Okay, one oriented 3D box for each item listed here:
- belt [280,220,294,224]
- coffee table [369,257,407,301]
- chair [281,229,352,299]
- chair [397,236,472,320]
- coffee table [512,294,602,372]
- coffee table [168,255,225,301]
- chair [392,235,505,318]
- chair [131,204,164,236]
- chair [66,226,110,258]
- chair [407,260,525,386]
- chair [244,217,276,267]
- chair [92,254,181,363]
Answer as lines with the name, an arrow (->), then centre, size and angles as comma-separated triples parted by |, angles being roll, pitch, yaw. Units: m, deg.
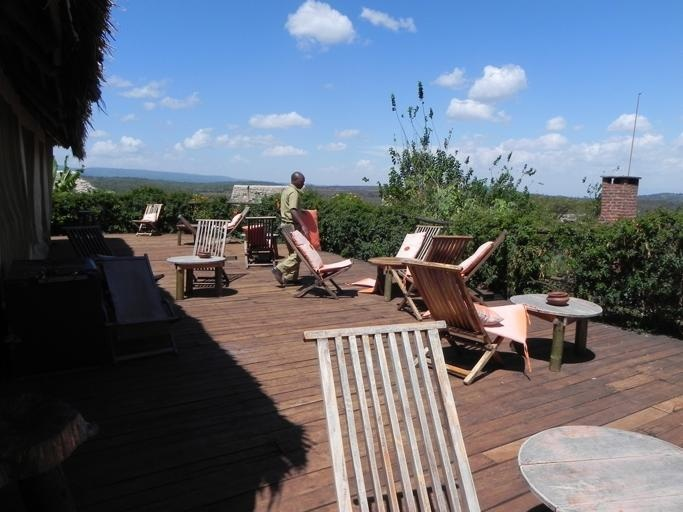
belt -> -1.086, -0.679, 8.366 | 0.164, 0.116, 0.144 | 0, 2, 6
coffee table -> 0.801, 0.418, 7.593 | 0.745, 0.639, 0.715 | 5, 10, -1
chair -> -0.436, 0.132, 7.749 | 1.330, 1.110, 0.858 | 5, 8, 2
chair -> 1.470, 0.088, 7.174 | 0.711, 0.843, 0.977 | 6, 0, -21
coffee table -> 2.438, 0.872, 4.908 | 0.980, 0.553, 0.905 | -1, 5, -33
coffee table -> -2.472, 0.405, 7.304 | 1.028, 0.576, 0.949 | -6, -4, -3
chair -> 1.655, 0.223, 6.944 | 1.187, 1.568, 1.816 | -5, 11, -30
chair -> -7.470, -1.435, 16.348 | 0.905, 1.241, 1.596 | -1, 6, -25
chair -> -4.264, -0.260, 7.119 | 0.624, 0.467, 1.483 | -2, 6, -30
chair -> 1.361, 0.629, 4.638 | 1.231, 0.996, 1.174 | 2, 5, -33
chair -> -1.957, -0.516, 11.192 | 0.695, 1.015, 1.666 | -1, 10, -10
chair -> -2.383, 0.564, 4.864 | 0.783, 1.299, 0.569 | -5, -33, -32
